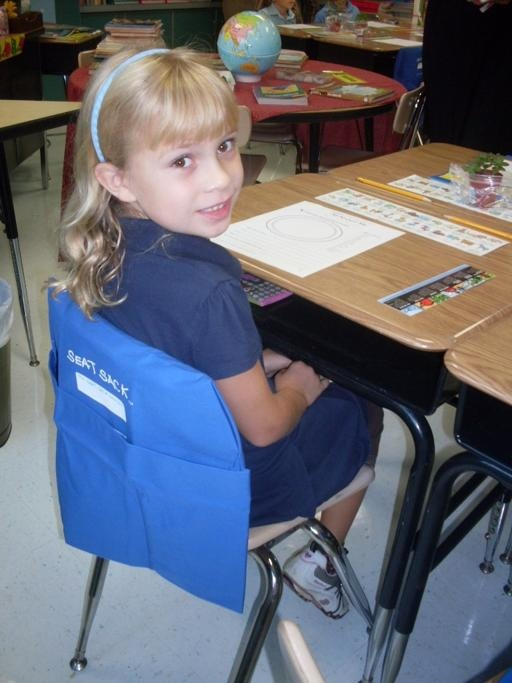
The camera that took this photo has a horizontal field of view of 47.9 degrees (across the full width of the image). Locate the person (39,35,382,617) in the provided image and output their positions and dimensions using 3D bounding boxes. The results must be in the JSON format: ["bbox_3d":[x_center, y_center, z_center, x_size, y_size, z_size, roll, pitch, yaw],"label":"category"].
[{"bbox_3d":[-0.007,0.129,0.920,0.516,1.057,0.344,-9,36,-17],"label":"person"}]

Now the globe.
[{"bbox_3d":[-0.031,-1.334,2.595,0.294,0.269,0.259,-15,50,-13],"label":"globe"}]
